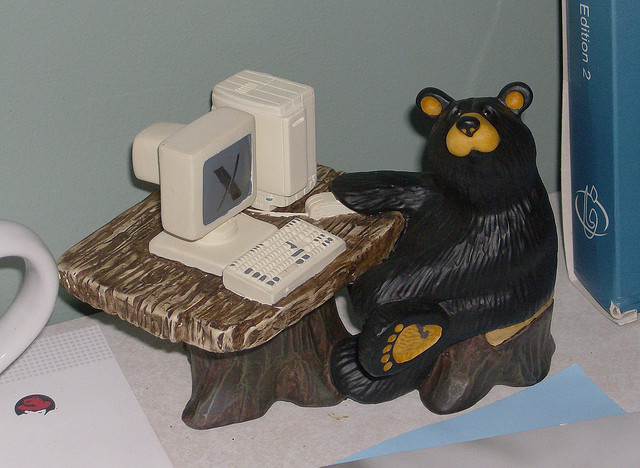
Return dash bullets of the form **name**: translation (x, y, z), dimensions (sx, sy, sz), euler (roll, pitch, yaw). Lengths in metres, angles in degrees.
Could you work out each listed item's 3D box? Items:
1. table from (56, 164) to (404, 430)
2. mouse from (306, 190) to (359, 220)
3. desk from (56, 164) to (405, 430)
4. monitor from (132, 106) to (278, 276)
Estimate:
- **table**: translation (-0.159, 0.163, 1.707), dimensions (0.609, 0.465, 0.866), euler (17, 31, 30)
- **mouse**: translation (0.015, -0.065, 1.559), dimensions (0.113, 0.052, 0.152), euler (4, 25, 5)
- **desk**: translation (-0.203, 0.172, 1.689), dimensions (0.834, 0.443, 0.665), euler (-25, 38, -38)
- **monitor**: translation (-0.259, -0.113, 1.377), dimensions (0.290, 0.294, 0.247), euler (24, 43, 28)
